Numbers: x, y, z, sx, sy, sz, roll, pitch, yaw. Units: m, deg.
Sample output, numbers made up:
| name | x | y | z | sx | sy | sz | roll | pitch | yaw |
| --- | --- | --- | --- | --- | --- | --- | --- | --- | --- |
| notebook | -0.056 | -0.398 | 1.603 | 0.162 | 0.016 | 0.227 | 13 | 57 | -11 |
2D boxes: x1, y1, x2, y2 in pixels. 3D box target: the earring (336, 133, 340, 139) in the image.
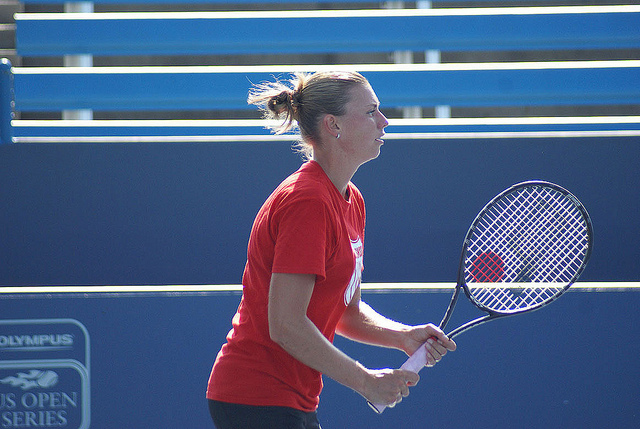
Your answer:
| name | x | y | z | sx | sy | sz | roll | pitch | yaw |
| --- | --- | --- | --- | --- | --- | --- | --- | --- | --- |
| earring | 0.095 | -0.441 | 7.395 | 0.009 | 0.030 | 0.014 | 5 | -10 | -31 |

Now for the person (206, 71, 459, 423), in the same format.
| name | x | y | z | sx | sy | sz | roll | pitch | yaw |
| --- | --- | --- | --- | --- | --- | --- | --- | --- | --- |
| person | -0.078 | 0.171 | 7.344 | 1.040 | 1.939 | 0.415 | 1 | -8 | -6 |
